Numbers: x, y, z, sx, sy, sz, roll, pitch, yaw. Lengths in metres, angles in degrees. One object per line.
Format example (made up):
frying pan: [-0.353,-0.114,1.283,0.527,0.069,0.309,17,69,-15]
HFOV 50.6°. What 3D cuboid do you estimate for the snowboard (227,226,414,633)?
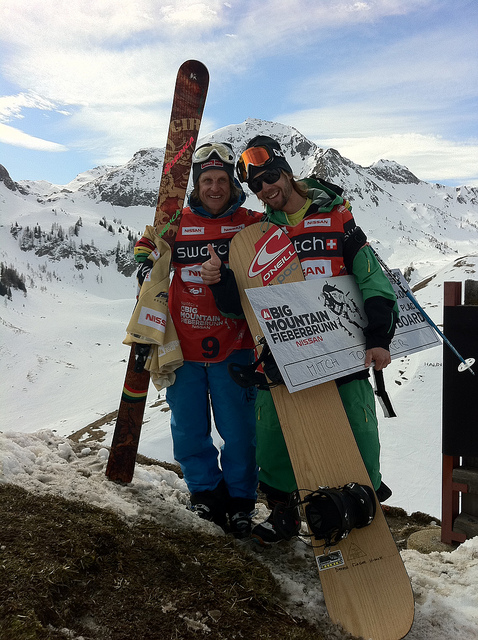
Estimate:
snowboard: [0.298,0.250,3.096,0.652,2.818,0.441,-17,-15,1]

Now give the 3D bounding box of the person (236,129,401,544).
person: [0.404,-0.257,3.449,0.950,3.083,0.501,-1,-16,-25]

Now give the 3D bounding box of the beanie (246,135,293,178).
beanie: [0.170,-1.038,3.246,0.302,0.151,0.236,-17,3,-24]
